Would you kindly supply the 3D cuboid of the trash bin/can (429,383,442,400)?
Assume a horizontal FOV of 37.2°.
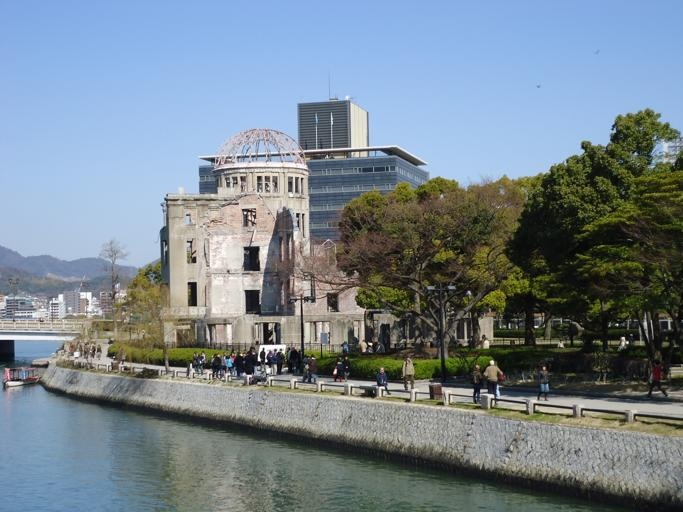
[{"bbox_3d":[5.867,8.499,63.738,0.779,1.470,0.861,1,6,-4],"label":"trash bin/can"}]
